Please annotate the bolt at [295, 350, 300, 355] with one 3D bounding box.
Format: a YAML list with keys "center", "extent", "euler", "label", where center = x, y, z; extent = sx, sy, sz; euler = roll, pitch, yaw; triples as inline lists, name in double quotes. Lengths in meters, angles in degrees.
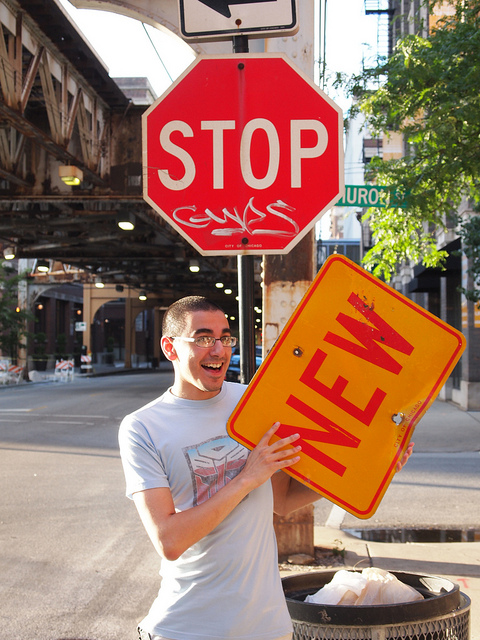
- center: [0.243, 0.138, 4.142]
  extent: [0.022, 0.020, 0.005]
  euler: [4, -3, -6]
  label: "bolt"

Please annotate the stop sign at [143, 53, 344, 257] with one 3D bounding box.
- center: [0.036, -0.788, 4.676]
  extent: [1.057, 0.956, 0.119]
  euler: [4, 13, 24]
  label: "stop sign"

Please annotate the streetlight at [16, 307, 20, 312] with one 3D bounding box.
- center: [-7.602, -0.360, 33.369]
  extent: [0.116, 0.150, 0.287]
  euler: [-1, 1, -16]
  label: "streetlight"

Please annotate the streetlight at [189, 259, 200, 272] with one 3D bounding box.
- center: [-1.501, -1.689, 30.156]
  extent: [0.374, 0.376, 0.366]
  euler: [0, 7, 16]
  label: "streetlight"

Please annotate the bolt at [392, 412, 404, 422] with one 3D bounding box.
- center: [0.665, 0.408, 4.102]
  extent: [0.048, 0.039, 0.010]
  euler: [-1, 1, -11]
  label: "bolt"

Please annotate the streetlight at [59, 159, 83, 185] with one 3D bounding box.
- center: [-2.698, -2.323, 15.478]
  extent: [0.305, 0.284, 0.472]
  euler: [-1, 1, -6]
  label: "streetlight"

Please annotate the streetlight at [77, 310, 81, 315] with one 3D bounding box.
- center: [-10.100, -0.503, 61.220]
  extent: [0.216, 0.278, 0.850]
  euler: [-1, 1, -12]
  label: "streetlight"

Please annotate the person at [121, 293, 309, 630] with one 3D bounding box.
- center: [-0.127, 0.663, 4.281]
  extent: [0.782, 1.543, 0.663]
  euler: [-1, 1, -6]
  label: "person"
